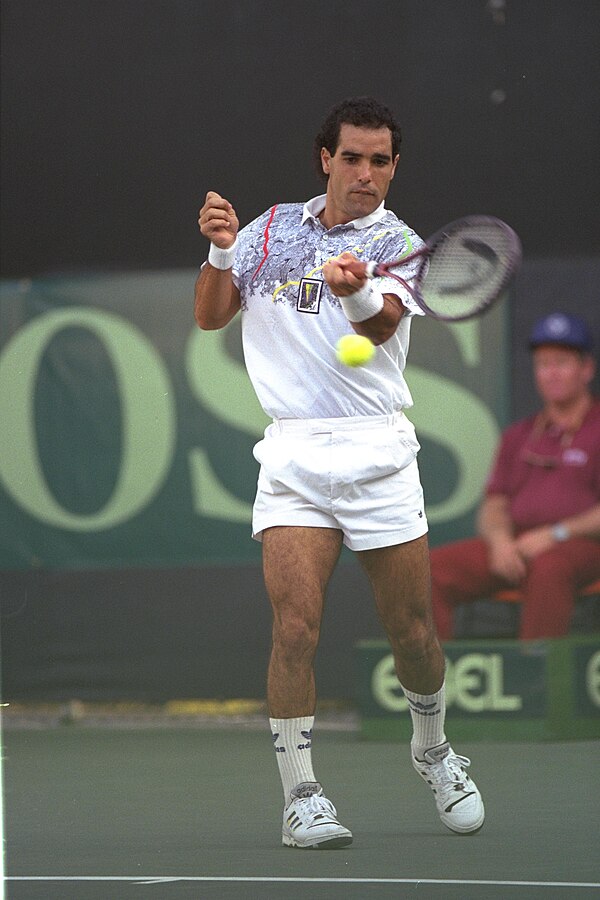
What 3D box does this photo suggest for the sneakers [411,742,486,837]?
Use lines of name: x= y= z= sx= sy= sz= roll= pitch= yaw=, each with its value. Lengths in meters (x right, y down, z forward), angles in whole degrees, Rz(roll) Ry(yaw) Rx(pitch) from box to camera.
sneakers: x=0.336 y=0.752 z=2.559 sx=0.091 sy=0.089 sz=0.234 roll=-21 pitch=26 yaw=-3

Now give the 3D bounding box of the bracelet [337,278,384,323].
bracelet: x=0.118 y=-0.291 z=2.207 sx=0.091 sy=0.081 sz=0.087 roll=-5 pitch=10 yaw=0

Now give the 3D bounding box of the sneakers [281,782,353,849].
sneakers: x=0.024 y=0.757 z=2.323 sx=0.082 sy=0.090 sz=0.203 roll=5 pitch=-13 yaw=-20

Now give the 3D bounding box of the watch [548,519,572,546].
watch: x=0.732 y=0.232 z=3.191 sx=0.091 sy=0.077 sz=0.020 roll=11 pitch=3 yaw=18

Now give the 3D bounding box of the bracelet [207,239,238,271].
bracelet: x=-0.161 y=-0.414 z=2.408 sx=0.053 sy=0.054 sz=0.061 roll=7 pitch=27 yaw=6

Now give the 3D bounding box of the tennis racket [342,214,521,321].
tennis racket: x=0.263 y=-0.380 z=2.355 sx=0.476 sy=0.157 sz=0.034 roll=-5 pitch=-3 yaw=-3

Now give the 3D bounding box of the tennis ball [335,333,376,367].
tennis ball: x=0.106 y=-0.186 z=2.179 sx=0.080 sy=0.066 sz=0.069 roll=0 pitch=-11 yaw=6
